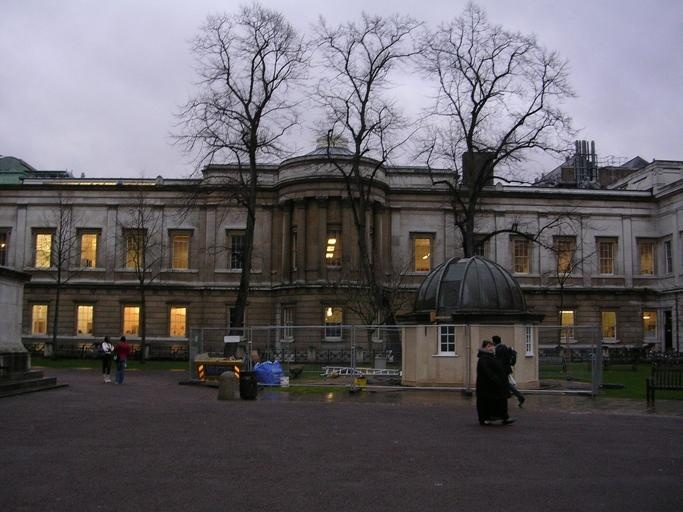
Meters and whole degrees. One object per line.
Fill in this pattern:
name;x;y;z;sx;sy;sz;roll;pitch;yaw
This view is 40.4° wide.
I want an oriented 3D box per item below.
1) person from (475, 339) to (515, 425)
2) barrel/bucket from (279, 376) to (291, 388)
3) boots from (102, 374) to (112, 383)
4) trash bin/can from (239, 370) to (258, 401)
person;4.689;4.139;28.727;0.959;2.101;0.442;-1;-8;10
barrel/bucket;-2.405;5.373;39.684;0.404;0.440;0.999;0;-8;1
boots;-10.254;5.370;40.607;0.320;0.357;0.735;2;-9;-16
trash bin/can;-3.551;4.914;34.911;0.908;1.363;0.673;2;-7;-25
